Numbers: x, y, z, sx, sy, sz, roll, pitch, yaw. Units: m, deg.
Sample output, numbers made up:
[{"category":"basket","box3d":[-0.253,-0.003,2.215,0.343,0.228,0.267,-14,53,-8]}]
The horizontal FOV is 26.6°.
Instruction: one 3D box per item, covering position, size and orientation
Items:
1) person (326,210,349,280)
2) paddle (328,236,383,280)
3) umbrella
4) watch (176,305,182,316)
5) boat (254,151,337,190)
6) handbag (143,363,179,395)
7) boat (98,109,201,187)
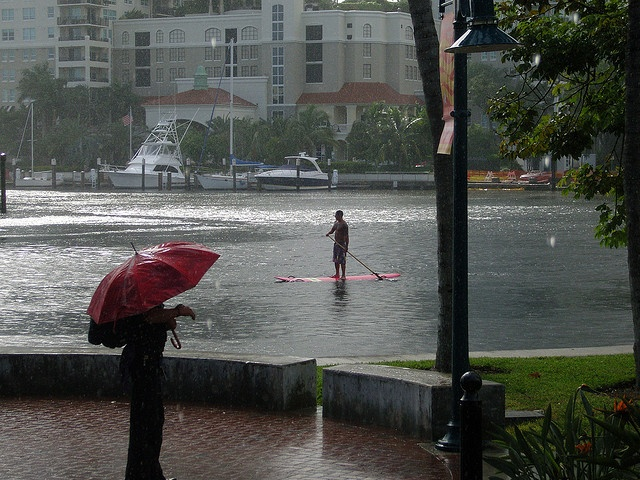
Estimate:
[{"category":"person","box3d":[0.459,0.067,31.285,0.462,1.577,0.517,-1,2,-45]},{"category":"paddle","box3d":[0.942,0.436,34.418,1.447,0.266,0.219,43,-8,-23]},{"category":"umbrella","box3d":[-1.983,0.650,16.249,1.480,1.046,1.459,-13,21,23]},{"category":"watch","box3d":[-1.621,0.779,15.806,0.037,0.103,0.072,4,1,39]},{"category":"boat","box3d":[-1.245,-5.239,103.922,7.622,3.194,2.543,-4,9,-16]},{"category":"handbag","box3d":[-1.946,1.680,16.868,0.293,0.332,0.567,2,-8,10]},{"category":"boat","box3d":[-14.394,-8.133,117.125,7.059,6.829,28.256,-2,4,-5]}]
